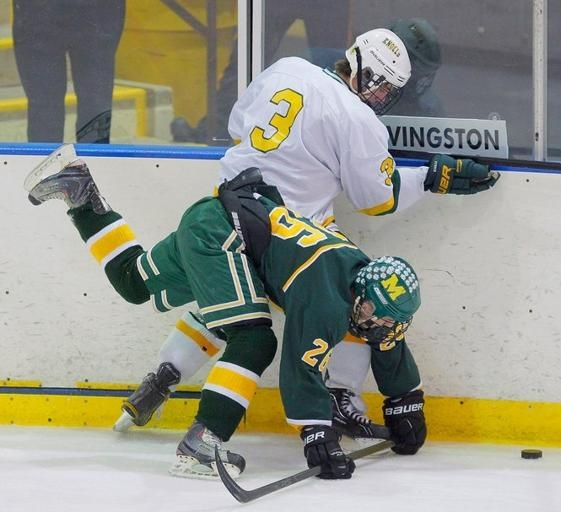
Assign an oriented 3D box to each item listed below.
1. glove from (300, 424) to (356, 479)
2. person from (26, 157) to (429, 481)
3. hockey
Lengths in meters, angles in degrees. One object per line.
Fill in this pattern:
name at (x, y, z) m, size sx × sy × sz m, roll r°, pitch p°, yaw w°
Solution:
glove at (0.172, 0.691, 3.113) m, size 0.178 × 0.187 × 0.094 m, roll -13°, pitch -1°, yaw 19°
person at (-0.178, 0.238, 3.406) m, size 1.314 × 1.098 × 0.947 m, roll 8°, pitch 12°, yaw 37°
hockey at (0.090, 0.764, 3.079) m, size 0.104 × 0.074 × 0.670 m, roll 36°, pitch 25°, yaw 31°
